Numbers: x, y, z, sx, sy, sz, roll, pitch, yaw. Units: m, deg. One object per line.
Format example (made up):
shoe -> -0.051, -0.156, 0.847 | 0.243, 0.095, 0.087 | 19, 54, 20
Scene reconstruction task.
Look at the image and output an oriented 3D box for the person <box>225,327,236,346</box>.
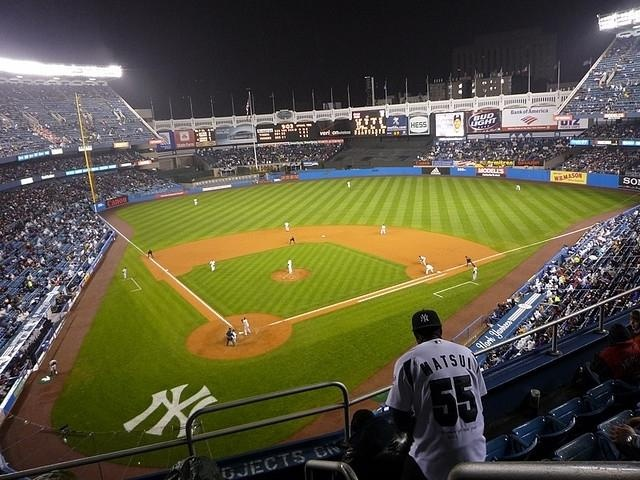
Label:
person -> -3.698, 3.934, 18.747 | 0.414, 0.420, 0.724 | 0, 9, -17
